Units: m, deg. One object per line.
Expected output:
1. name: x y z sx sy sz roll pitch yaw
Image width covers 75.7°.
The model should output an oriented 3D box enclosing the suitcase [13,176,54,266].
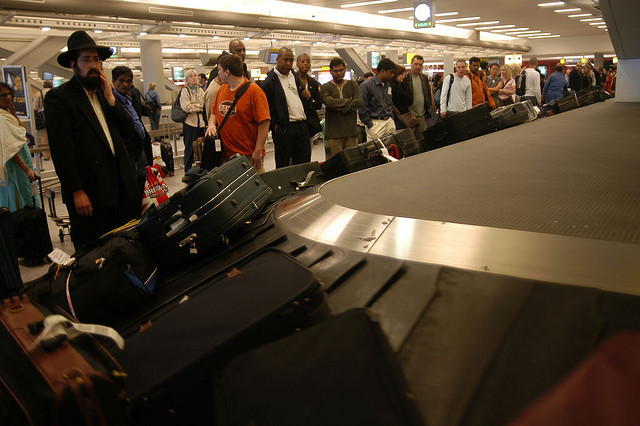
1. suitcase: -2.665 0.019 3.869 0.294 0.300 0.791 -39 51 7

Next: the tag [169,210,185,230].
1. tag: -0.550 0.019 1.587 0.054 0.022 0.059 -27 62 -3

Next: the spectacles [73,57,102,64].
1. spectacles: -1.403 -0.922 2.459 0.060 0.017 0.067 -5 4 14

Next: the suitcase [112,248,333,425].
1. suitcase: -0.243 0.322 0.979 0.434 0.143 0.364 -17 26 28

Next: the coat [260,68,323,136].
1. coat: -0.307 -1.200 4.679 0.680 0.921 0.431 -19 13 -26

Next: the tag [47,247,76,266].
1. tag: -1.012 0.178 1.609 0.055 0.094 0.025 -46 -3 -25

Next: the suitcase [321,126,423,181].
1. suitcase: 0.422 -0.407 2.739 0.505 0.205 0.938 17 26 40

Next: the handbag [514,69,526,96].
1. handbag: 4.672 -3.083 9.589 0.227 0.548 0.420 8 20 25

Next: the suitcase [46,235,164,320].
1. suitcase: -0.846 0.231 1.551 0.411 0.163 0.260 -4 6 36

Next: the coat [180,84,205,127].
1. coat: -2.189 -1.879 7.065 0.343 0.669 0.506 15 24 22

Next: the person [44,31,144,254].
1. person: -1.425 -0.452 2.620 0.426 1.323 0.555 15 23 41

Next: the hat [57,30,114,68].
1. hat: -1.467 -1.036 2.558 0.316 0.208 0.329 2 19 9

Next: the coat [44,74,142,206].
1. coat: -1.398 -0.432 2.557 0.479 0.813 0.338 -12 20 -33

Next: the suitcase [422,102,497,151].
1. suitcase: 1.364 -0.791 4.205 0.702 0.339 0.742 -26 8 -4

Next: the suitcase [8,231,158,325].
1. suitcase: -0.931 0.260 1.616 0.513 0.212 0.346 -18 14 7

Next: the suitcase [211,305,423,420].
1. suitcase: -0.015 0.332 0.826 0.389 0.104 0.244 -8 20 -19
